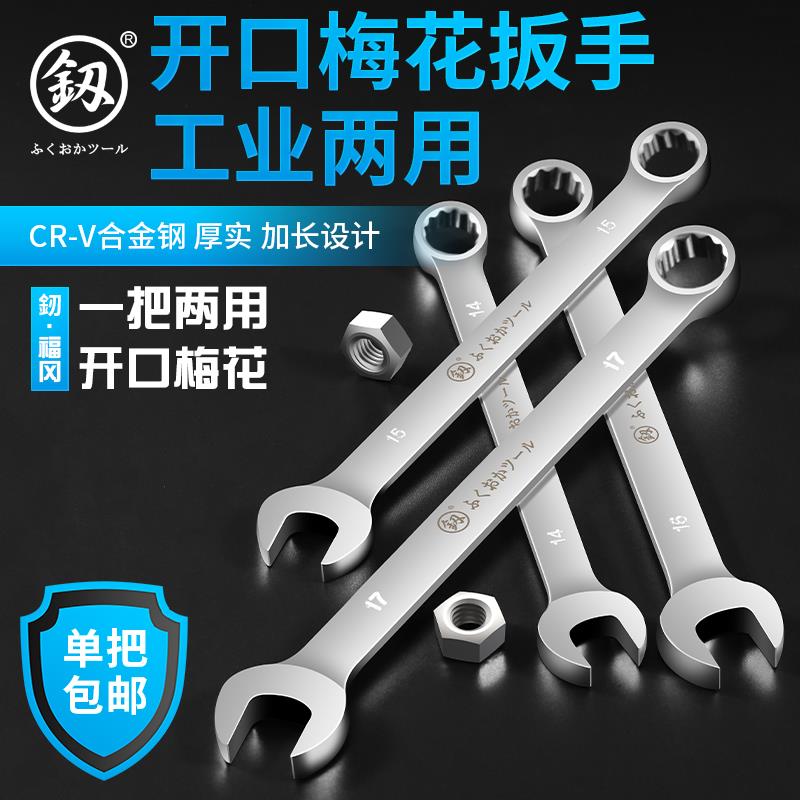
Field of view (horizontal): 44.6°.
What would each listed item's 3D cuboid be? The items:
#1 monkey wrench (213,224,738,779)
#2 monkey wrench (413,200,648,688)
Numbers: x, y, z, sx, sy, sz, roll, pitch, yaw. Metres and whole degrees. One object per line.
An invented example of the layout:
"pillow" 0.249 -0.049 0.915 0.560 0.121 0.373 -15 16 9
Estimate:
"monkey wrench" 0.113 0.153 1.312 0.126 0.067 0.958 28 56 28
"monkey wrench" 0.157 -0.028 1.510 0.159 0.104 1.018 -9 52 -4
